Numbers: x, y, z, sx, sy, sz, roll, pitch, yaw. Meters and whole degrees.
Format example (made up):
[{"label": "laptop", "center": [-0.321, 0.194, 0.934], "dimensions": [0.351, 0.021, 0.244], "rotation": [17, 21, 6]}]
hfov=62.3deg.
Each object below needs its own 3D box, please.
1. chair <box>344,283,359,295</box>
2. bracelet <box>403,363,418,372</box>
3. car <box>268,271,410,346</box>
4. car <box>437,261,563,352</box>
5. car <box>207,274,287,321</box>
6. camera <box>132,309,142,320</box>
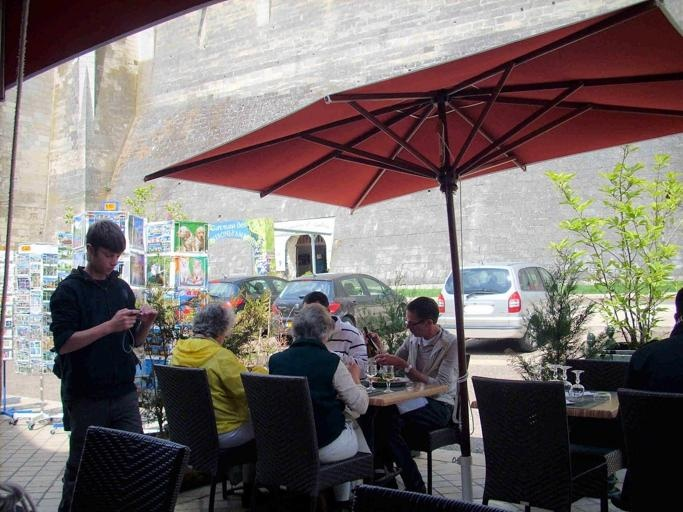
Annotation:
[{"label": "chair", "center": [0.202, 0.762, 12.516], "dimensions": [0.291, 0.292, 0.235], "rotation": [-2, -3, 44]}, {"label": "bracelet", "center": [0.591, 0.971, 4.933], "dimensions": [0.063, 0.094, 0.093], "rotation": [48, 24, 24]}, {"label": "car", "center": [-0.243, 1.051, 11.791], "dimensions": [1.109, 0.841, 2.113], "rotation": [-1, 3, 41]}, {"label": "car", "center": [3.010, 1.038, 11.664], "dimensions": [1.666, 1.338, 3.097], "rotation": [0, 4, 33]}, {"label": "car", "center": [-2.053, 0.973, 12.878], "dimensions": [0.951, 0.647, 1.985], "rotation": [1, 6, 36]}, {"label": "camera", "center": [-1.380, 0.392, 3.777], "dimensions": [0.063, 0.057, 0.111], "rotation": [-9, -13, -4]}]
